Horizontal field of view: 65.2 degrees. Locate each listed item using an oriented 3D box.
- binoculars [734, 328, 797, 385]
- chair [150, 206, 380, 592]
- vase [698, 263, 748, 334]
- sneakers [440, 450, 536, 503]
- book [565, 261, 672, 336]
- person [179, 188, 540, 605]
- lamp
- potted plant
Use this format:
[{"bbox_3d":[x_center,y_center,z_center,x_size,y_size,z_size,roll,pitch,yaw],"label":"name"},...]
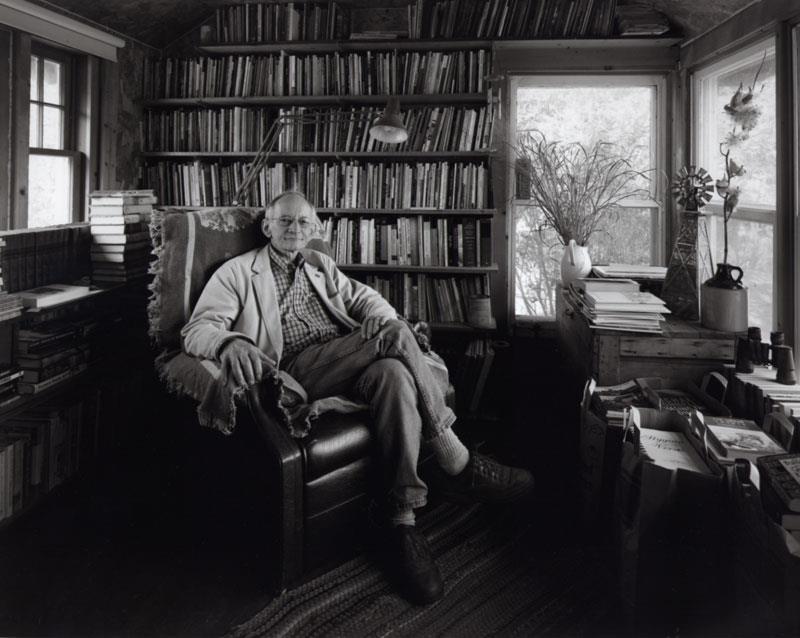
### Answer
[{"bbox_3d":[1.471,0.145,2.510,0.200,0.229,0.070,-4,-2,5],"label":"binoculars"},{"bbox_3d":[-0.444,0.095,2.574,0.845,1.397,0.946,4,6,39],"label":"chair"},{"bbox_3d":[1.439,-0.088,2.761,0.166,0.283,0.165,1,6,28],"label":"vase"},{"bbox_3d":[0.343,0.634,2.601,0.409,0.198,0.178,-1,27,1],"label":"sneakers"},{"bbox_3d":[1.005,-0.080,2.906,0.308,0.272,0.413,6,13,4],"label":"book"},{"bbox_3d":[-0.208,0.125,2.481,1.091,1.457,0.868,-6,8,35],"label":"person"},{"bbox_3d":[-0.444,-0.966,3.560,0.982,0.510,1.031,-1,12,1],"label":"lamp"},{"bbox_3d":[1.144,-0.827,4.251,0.778,1.000,0.463,7,10,0],"label":"potted plant"}]
